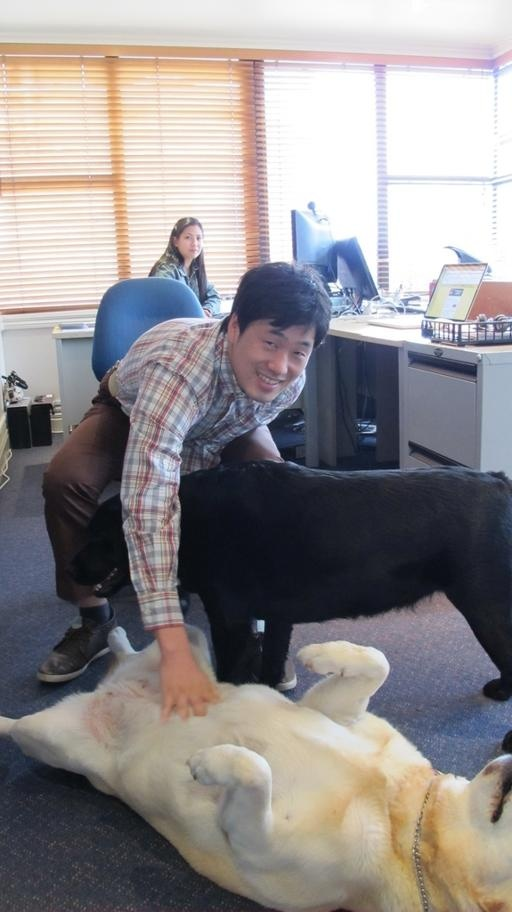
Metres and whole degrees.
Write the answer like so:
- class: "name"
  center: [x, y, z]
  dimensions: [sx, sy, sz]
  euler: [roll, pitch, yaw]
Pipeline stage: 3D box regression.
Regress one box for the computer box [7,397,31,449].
- class: "computer box"
  center: [-1.514, -0.183, 4.207]
  dimensions: [0.141, 0.301, 0.134]
  euler: [-9, 14, -22]
